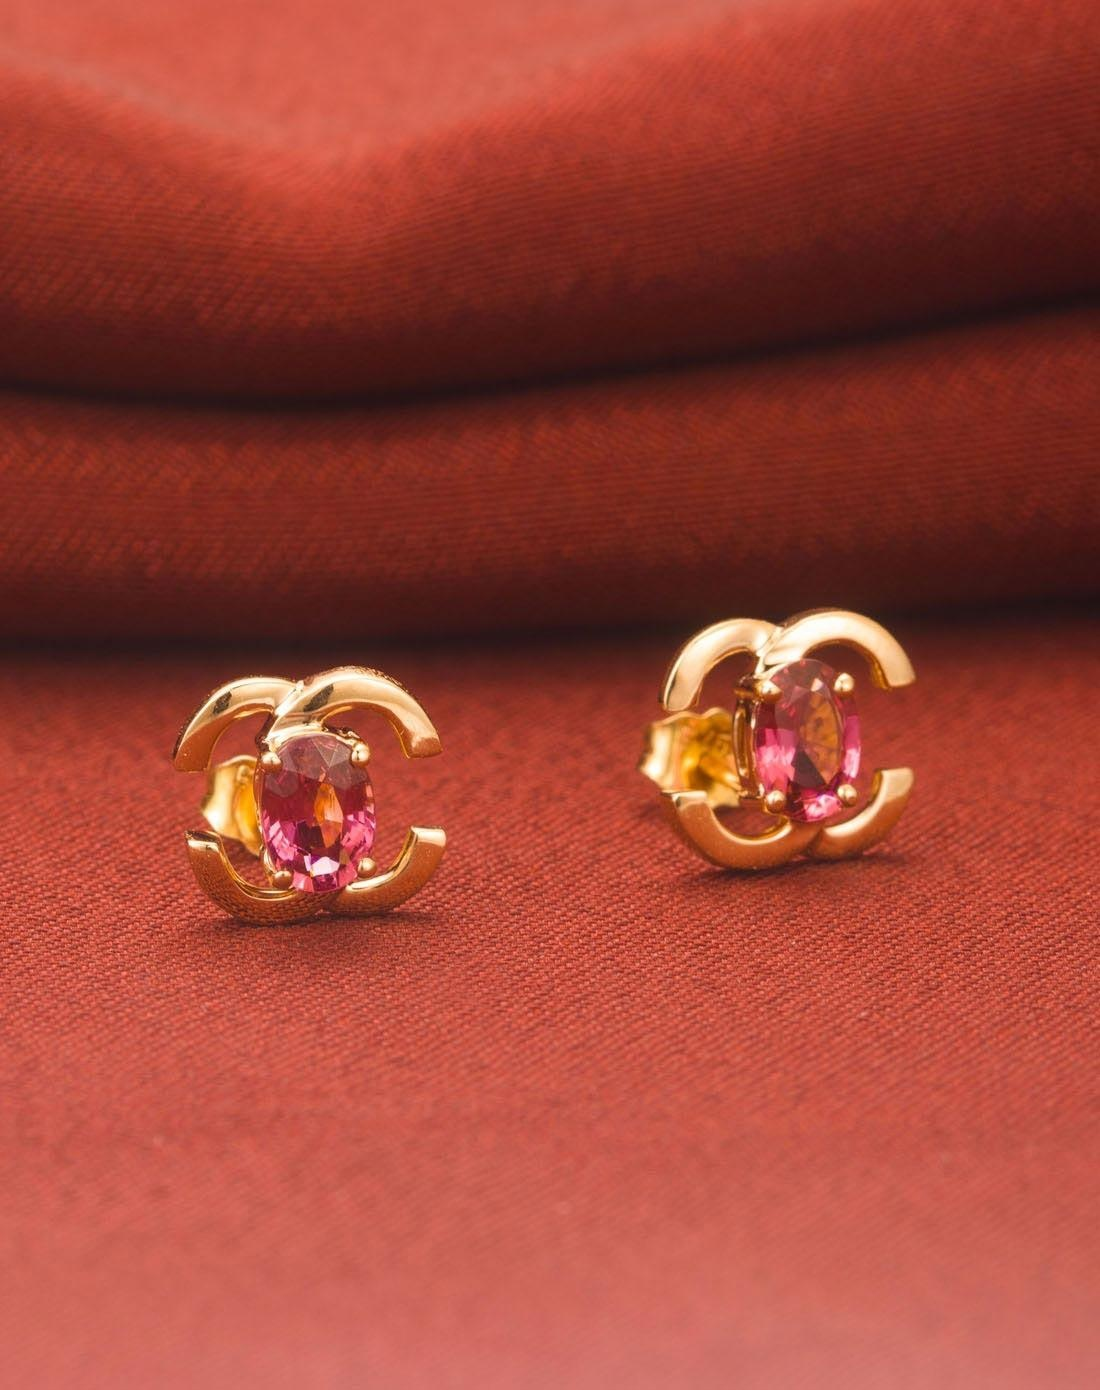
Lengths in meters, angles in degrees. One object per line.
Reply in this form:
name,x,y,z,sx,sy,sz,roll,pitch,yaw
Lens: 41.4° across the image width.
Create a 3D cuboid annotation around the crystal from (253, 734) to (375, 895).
crystal,-0.111,0.057,0.699,0.070,0.071,0.028,-5,13,-20
